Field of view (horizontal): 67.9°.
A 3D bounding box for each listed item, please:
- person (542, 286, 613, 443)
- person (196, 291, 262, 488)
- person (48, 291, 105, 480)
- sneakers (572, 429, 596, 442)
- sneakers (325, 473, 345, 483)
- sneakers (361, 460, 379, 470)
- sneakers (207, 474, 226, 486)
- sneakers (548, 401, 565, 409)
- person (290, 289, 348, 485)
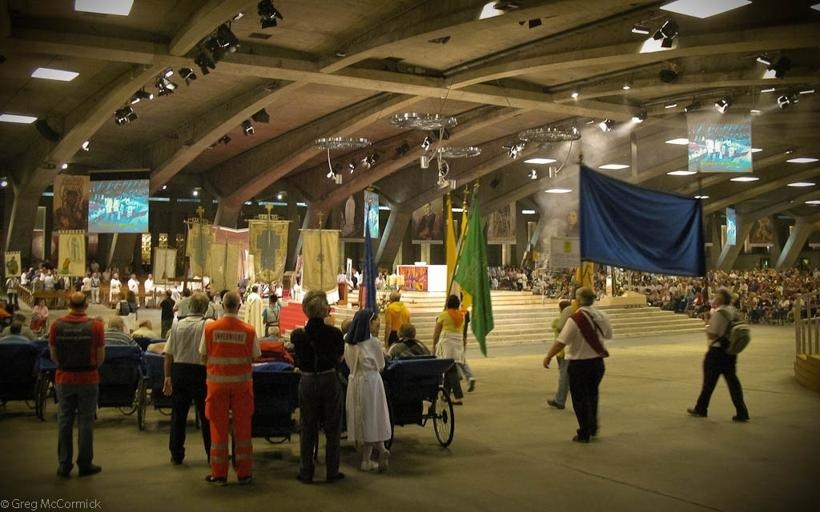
[{"bbox_3d":[3.145,1.920,11.189,1.002,2.712,0.862,2,6,17],"label":"person"},{"bbox_3d":[-2.757,2.022,9.471,0.845,2.868,0.574,-1,5,-11],"label":"person"},{"bbox_3d":[-5.200,1.980,9.654,0.725,2.814,0.747,-3,6,-29],"label":"person"},{"bbox_3d":[3.150,3.194,10.984,0.226,0.096,0.301,-7,-9,44],"label":"sneakers"},{"bbox_3d":[-1.158,3.458,9.561,0.290,0.117,0.110,-4,2,-25],"label":"sneakers"},{"bbox_3d":[-0.639,3.392,9.948,0.272,0.111,0.136,-1,-6,-9],"label":"sneakers"},{"bbox_3d":[-2.950,3.412,9.358,0.270,0.113,0.131,8,-4,6],"label":"sneakers"},{"bbox_3d":[3.085,3.130,12.906,0.291,0.119,0.149,18,2,35],"label":"sneakers"},{"bbox_3d":[-1.428,2.029,9.622,0.770,2.924,0.590,-1,5,-9],"label":"person"}]
